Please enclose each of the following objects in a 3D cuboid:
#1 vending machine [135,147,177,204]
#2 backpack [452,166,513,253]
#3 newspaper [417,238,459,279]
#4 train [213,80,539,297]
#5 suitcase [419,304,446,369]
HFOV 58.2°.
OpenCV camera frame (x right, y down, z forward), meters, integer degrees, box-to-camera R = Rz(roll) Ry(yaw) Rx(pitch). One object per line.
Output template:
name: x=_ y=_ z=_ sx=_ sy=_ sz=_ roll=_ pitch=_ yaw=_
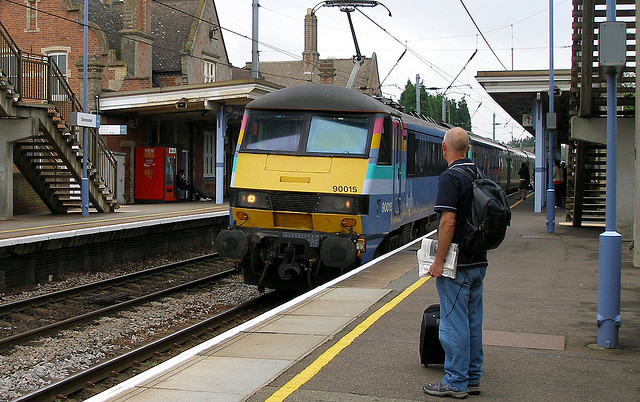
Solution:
vending machine: x=-8.405 y=-1.313 z=29.250 sx=1.697 sy=2.924 sz=2.699 roll=0 pitch=-1 yaw=5
backpack: x=2.005 y=0.115 z=7.107 sx=0.655 sy=1.038 sz=0.270 roll=1 pitch=6 yaw=13
newspaper: x=1.489 y=0.717 z=7.248 sx=0.511 sy=0.482 sz=0.302 roll=2 pitch=9 yaw=15
train: x=2.953 y=-0.638 z=22.727 sx=3.429 sy=5.560 sz=21.881 roll=1 pitch=1 yaw=25
suitcase: x=1.607 y=1.812 z=7.792 sx=0.494 sy=0.788 sz=0.479 roll=2 pitch=13 yaw=-7
